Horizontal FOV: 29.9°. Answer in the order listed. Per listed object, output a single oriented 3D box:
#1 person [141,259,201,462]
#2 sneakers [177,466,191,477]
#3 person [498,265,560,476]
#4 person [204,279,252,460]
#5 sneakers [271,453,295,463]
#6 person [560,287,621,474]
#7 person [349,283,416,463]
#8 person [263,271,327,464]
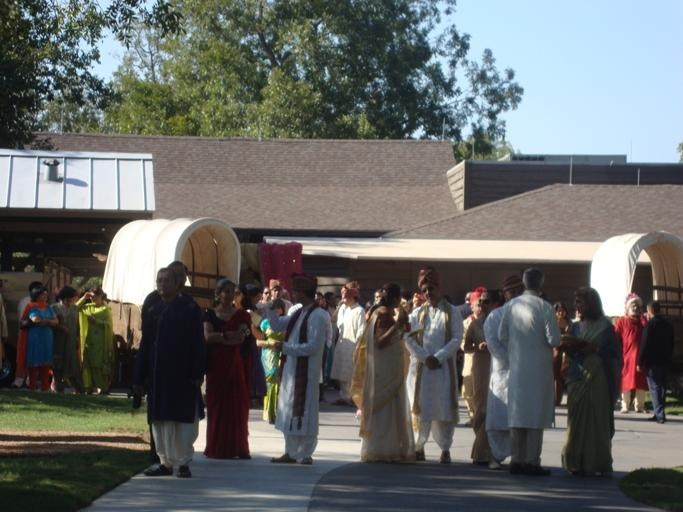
[{"bbox_3d":[-2.533,1.727,19.236,0.926,3.069,0.303,1,-3,-9],"label":"person"},{"bbox_3d":[-2.347,3.195,19.145,0.207,0.165,0.143,1,-4,-10],"label":"sneakers"},{"bbox_3d":[2.890,1.753,19.890,0.910,3.162,0.337,0,-3,8],"label":"person"},{"bbox_3d":[-1.786,1.749,20.041,0.724,2.793,0.646,0,-3,-4],"label":"person"},{"bbox_3d":[-0.905,3.166,20.107,0.388,0.185,0.145,4,-8,5],"label":"sneakers"},{"bbox_3d":[3.853,1.914,19.926,0.918,2.900,0.429,-1,-3,11],"label":"person"},{"bbox_3d":[0.656,1.824,20.323,0.976,2.793,0.342,0,-3,3],"label":"person"},{"bbox_3d":[-0.678,1.749,20.168,0.870,2.955,0.413,0,-3,-2],"label":"person"}]
